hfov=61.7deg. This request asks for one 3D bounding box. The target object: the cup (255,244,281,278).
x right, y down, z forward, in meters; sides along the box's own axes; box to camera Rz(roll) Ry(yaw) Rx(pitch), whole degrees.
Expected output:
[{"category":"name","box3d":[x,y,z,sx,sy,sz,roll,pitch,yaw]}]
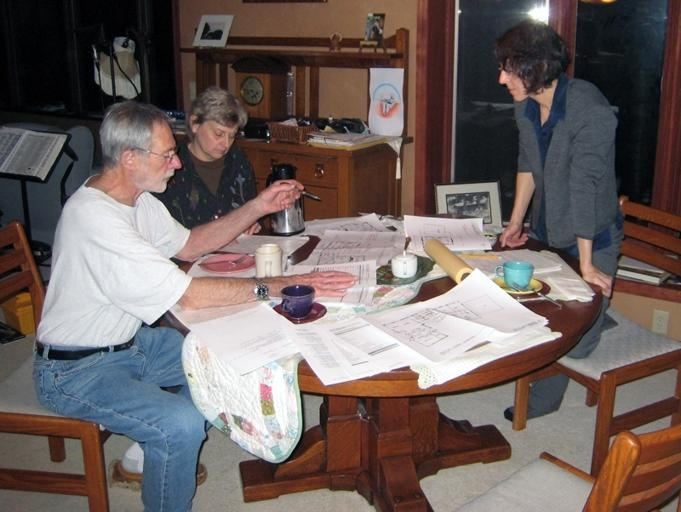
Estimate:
[{"category":"cup","box3d":[-0.267,0.019,2.084,0.080,0.112,0.125,1,15,3]}]

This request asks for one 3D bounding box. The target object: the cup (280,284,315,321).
[{"category":"cup","box3d":[-0.144,0.145,1.830,0.114,0.075,0.091,-8,24,-8]}]

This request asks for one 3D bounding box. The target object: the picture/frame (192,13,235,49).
[{"category":"picture/frame","box3d":[-0.997,-1.775,4.494,0.339,0.348,0.028,-3,-9,16]}]

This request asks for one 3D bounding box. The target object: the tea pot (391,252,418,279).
[{"category":"tea pot","box3d":[0.233,0.033,2.097,0.084,0.080,0.086,-1,19,0]}]

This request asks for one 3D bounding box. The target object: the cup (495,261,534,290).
[{"category":"cup","box3d":[0.590,0.063,1.939,0.099,0.080,0.114,-16,20,-37]}]

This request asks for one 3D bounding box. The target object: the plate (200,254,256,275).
[{"category":"plate","box3d":[-0.444,0.029,2.214,0.121,0.013,0.106,-16,31,-34]}]

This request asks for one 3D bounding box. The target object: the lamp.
[{"category":"lamp","box3d":[-1.886,-1.585,4.773,0.368,0.517,0.458,-9,19,-20]}]

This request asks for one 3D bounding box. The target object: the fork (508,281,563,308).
[{"category":"fork","box3d":[0.663,0.128,1.946,0.090,0.018,0.122,-9,31,-26]}]

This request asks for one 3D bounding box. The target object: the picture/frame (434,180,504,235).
[{"category":"picture/frame","box3d":[0.650,-0.244,2.893,0.328,0.258,0.032,-1,5,6]}]

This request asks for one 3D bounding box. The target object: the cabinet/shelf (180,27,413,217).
[{"category":"cabinet/shelf","box3d":[-0.200,-0.870,3.755,1.478,1.406,0.562,5,15,20]}]

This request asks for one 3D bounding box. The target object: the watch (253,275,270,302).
[{"category":"watch","box3d":[-0.275,0.115,1.954,0.050,0.055,0.086,-3,17,-5]}]
